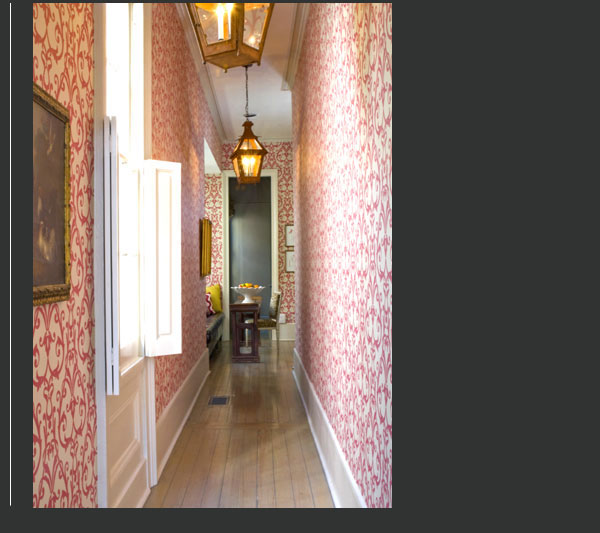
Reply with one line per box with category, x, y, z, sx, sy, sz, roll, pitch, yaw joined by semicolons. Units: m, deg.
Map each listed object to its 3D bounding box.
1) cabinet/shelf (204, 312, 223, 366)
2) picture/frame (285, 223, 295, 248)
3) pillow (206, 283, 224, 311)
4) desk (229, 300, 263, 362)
cabinet/shelf;-1.052;0.888;6.679;0.200;0.488;2.193;0;1;-9
picture/frame;-0.147;-0.470;8.023;0.121;0.349;0.072;-1;2;-26
pillow;-1.185;0.422;7.509;0.267;0.394;0.137;-11;-4;4
desk;-0.678;0.785;6.867;0.320;0.684;1.230;-1;-1;-5
